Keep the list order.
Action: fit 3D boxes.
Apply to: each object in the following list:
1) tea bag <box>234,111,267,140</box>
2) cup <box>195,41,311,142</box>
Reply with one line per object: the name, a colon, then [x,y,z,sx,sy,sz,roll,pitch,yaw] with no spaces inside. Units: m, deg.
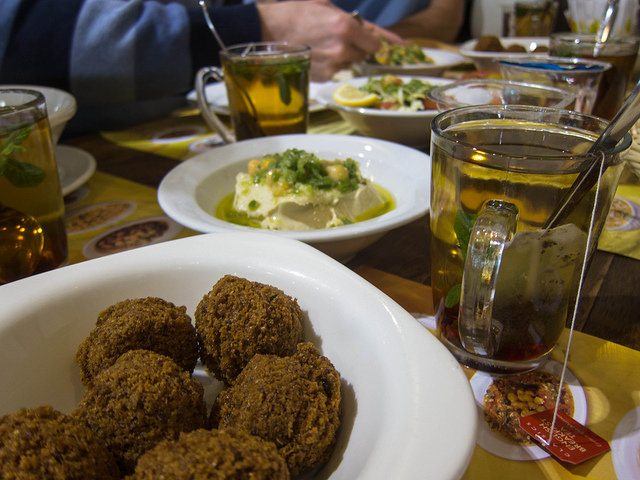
tea bag: [-0.245,-0.386,1.721,0.083,0.087,0.087,-1,40,1]
cup: [-0.199,-0.490,1.862,0.489,0.399,0.381,-7,27,-12]
